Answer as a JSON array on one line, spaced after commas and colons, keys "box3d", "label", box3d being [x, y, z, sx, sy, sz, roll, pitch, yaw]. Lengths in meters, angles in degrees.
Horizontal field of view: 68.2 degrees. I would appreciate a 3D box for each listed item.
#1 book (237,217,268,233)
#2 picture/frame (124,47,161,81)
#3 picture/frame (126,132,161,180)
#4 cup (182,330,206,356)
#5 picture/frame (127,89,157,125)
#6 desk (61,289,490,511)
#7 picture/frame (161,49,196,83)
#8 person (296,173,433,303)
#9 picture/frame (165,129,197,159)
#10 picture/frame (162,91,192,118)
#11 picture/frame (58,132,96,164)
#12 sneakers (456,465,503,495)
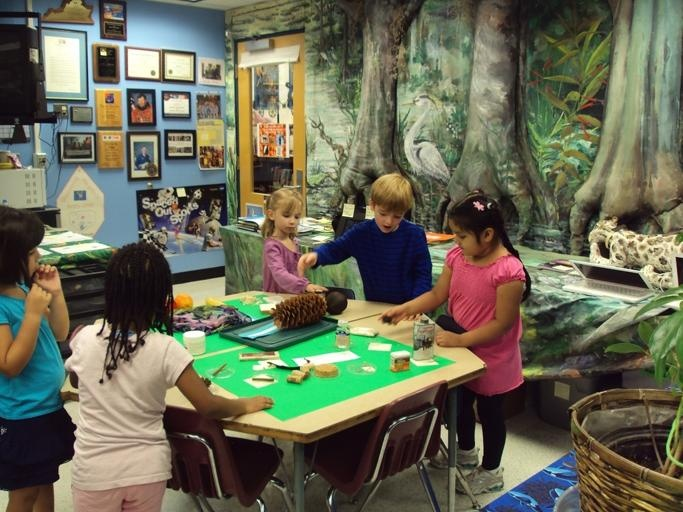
[{"box3d": [-0.899, -0.349, 5.093, 0.297, 0.095, 0.303, 7, 9, 23], "label": "book"}, {"box3d": [-2.355, -2.245, 5.891, 0.415, 0.375, 0.043, -4, 6, -35], "label": "picture/frame"}, {"box3d": [-2.396, -1.209, 6.030, 0.502, 0.714, 0.056, -9, 16, -40], "label": "picture/frame"}, {"box3d": [-0.659, 0.389, 2.256, 0.093, 0.071, 0.096, 0, 1, 0], "label": "cup"}, {"box3d": [-2.382, -1.769, 5.945, 0.407, 0.562, 0.036, -6, 10, -44], "label": "picture/frame"}, {"box3d": [0.004, 0.517, 2.123, 1.052, 0.628, 1.040, -8, 11, -44], "label": "desk"}, {"box3d": [-2.014, -2.320, 6.145, 0.434, 0.400, 0.043, -8, 11, -44], "label": "picture/frame"}, {"box3d": [0.156, 0.086, 2.921, 0.726, 1.046, 0.533, -5, 19, -6], "label": "person"}, {"box3d": [-2.029, -1.402, 6.277, 0.357, 0.325, 0.030, -9, 12, -42], "label": "picture/frame"}, {"box3d": [-2.048, -1.864, 6.191, 0.026, 0.314, 0.340, 6, 10, 42], "label": "picture/frame"}, {"box3d": [-2.964, -1.204, 5.584, 0.354, 0.319, 0.038, -5, 6, -44], "label": "picture/frame"}, {"box3d": [0.759, 1.207, 2.760, 0.268, 0.132, 0.122, -2, 5, -2], "label": "sneakers"}]
